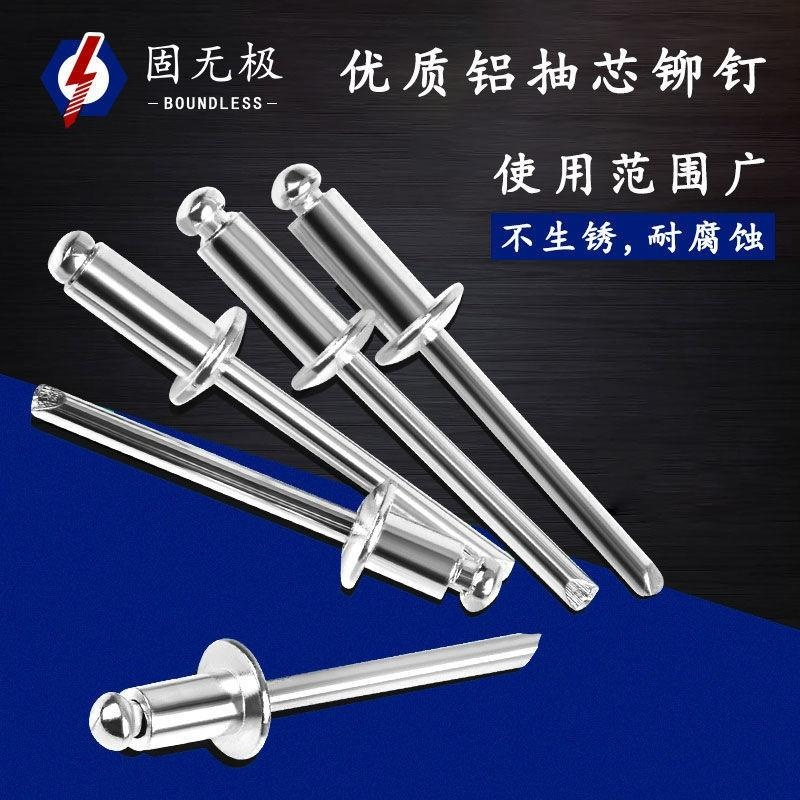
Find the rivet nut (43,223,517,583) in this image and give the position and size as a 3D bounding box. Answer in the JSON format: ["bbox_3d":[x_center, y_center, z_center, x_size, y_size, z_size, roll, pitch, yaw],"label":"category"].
[{"bbox_3d":[-0.134,0.019,1.031,0.683,0.127,0.160,24,-6,-4],"label":"rivet nut"}]

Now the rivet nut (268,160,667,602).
[{"bbox_3d":[0.057,-0.009,1.064,0.655,0.147,0.156,35,23,-4],"label":"rivet nut"}]
